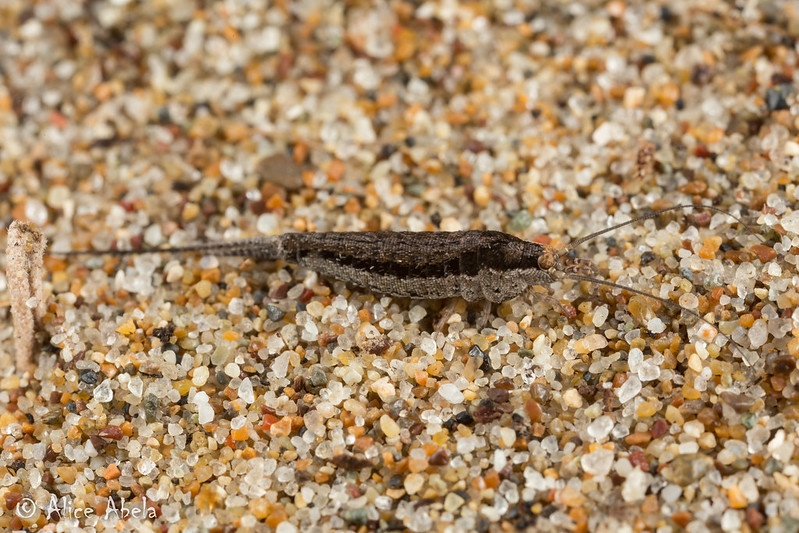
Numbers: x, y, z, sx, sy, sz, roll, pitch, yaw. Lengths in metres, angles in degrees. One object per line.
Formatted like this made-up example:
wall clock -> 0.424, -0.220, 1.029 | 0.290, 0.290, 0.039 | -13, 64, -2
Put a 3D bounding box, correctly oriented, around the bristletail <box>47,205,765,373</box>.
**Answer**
bristletail -> 0.002, 0.031, 3.127 | 2.343, 0.326, 0.621 | 1, 37, 11
